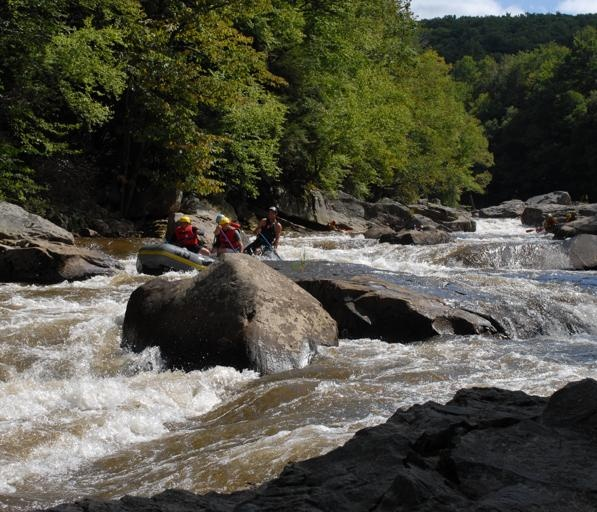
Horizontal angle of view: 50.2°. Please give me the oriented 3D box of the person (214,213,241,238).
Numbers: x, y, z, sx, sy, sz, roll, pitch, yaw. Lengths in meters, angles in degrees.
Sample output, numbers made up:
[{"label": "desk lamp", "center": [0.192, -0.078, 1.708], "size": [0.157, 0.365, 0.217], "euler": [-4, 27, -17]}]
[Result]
[{"label": "person", "center": [-1.533, -0.704, 13.892], "size": [0.693, 0.388, 0.826], "euler": [2, 10, -9]}]

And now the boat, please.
[{"label": "boat", "center": [-2.308, 0.055, 14.477], "size": [2.377, 0.543, 1.263], "euler": [0, 2, -37]}]

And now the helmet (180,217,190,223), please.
[{"label": "helmet", "center": [-2.648, -0.834, 15.003], "size": [0.204, 0.182, 0.306], "euler": [-4, 10, -14]}]

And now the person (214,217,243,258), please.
[{"label": "person", "center": [-1.512, -0.445, 13.759], "size": [0.533, 0.844, 0.724], "euler": [-3, 11, -7]}]

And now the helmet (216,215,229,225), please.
[{"label": "helmet", "center": [-1.612, -0.772, 13.590], "size": [0.236, 0.122, 0.328], "euler": [-5, 2, -41]}]
